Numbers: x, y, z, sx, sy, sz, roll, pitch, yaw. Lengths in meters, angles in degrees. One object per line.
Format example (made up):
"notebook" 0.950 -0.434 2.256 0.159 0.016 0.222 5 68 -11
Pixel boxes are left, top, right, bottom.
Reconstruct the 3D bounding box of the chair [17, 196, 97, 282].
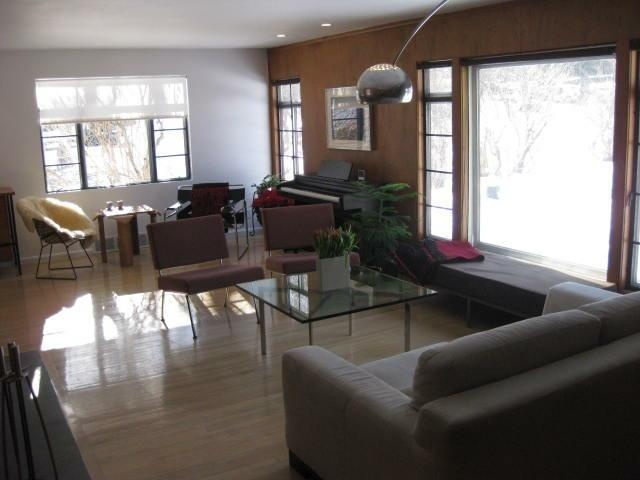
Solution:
"chair" -3.628 -0.180 7.063 1.079 1.273 1.191 0 10 -13

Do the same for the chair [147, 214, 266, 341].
"chair" -1.301 0.309 5.365 0.905 1.043 1.257 -10 17 -31

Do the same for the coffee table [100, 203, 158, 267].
"coffee table" -2.916 -0.090 7.579 0.897 0.934 0.927 -2 5 -15

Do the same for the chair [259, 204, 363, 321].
"chair" -0.128 0.194 5.651 1.015 1.019 0.800 -5 9 -25

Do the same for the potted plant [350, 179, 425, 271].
"potted plant" 0.764 -0.221 6.233 0.966 1.451 0.989 0 6 -1

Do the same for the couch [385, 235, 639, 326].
"couch" 1.594 0.415 5.065 0.779 0.450 1.414 -12 23 -33

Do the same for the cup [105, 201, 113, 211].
"cup" -3.154 -0.506 7.451 0.133 0.157 0.150 1 2 -13

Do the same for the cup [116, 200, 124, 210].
"cup" -2.975 -0.525 7.495 0.128 0.149 0.134 0 10 0

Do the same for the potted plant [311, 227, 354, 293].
"potted plant" 0.111 0.187 4.286 0.474 0.675 0.279 -3 7 -23

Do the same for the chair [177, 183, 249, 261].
"chair" -1.543 -0.494 7.968 1.338 1.403 1.084 0 8 2

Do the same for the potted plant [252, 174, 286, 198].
"potted plant" -0.892 -0.937 8.455 0.546 0.394 0.410 -5 3 -39
